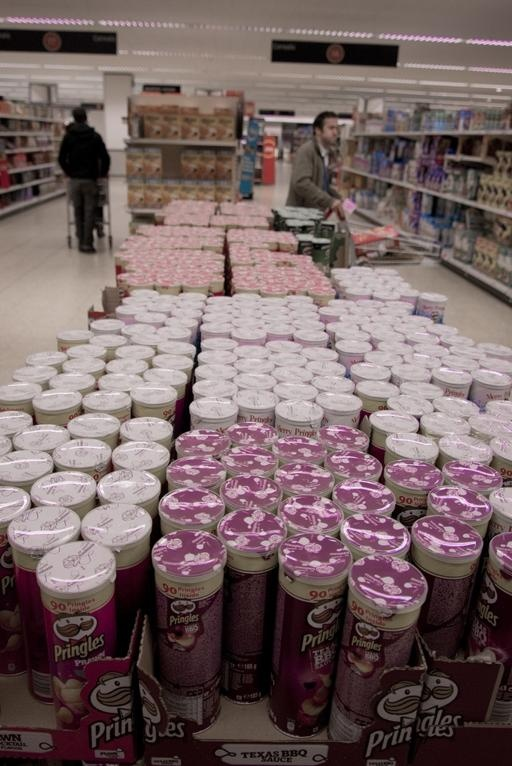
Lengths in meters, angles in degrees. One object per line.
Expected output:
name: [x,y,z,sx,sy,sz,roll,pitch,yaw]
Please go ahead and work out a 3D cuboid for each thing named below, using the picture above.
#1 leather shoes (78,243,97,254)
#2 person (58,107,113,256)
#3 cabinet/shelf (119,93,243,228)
leather shoes: [-2.250,-1.819,7.428,0.288,0.195,0.093,-6,40,-19]
person: [-2.231,-2.640,7.277,0.621,1.766,0.558,-6,25,-16]
cabinet/shelf: [-0.845,-2.632,6.337,1.257,1.251,1.501,-1,24,-6]
